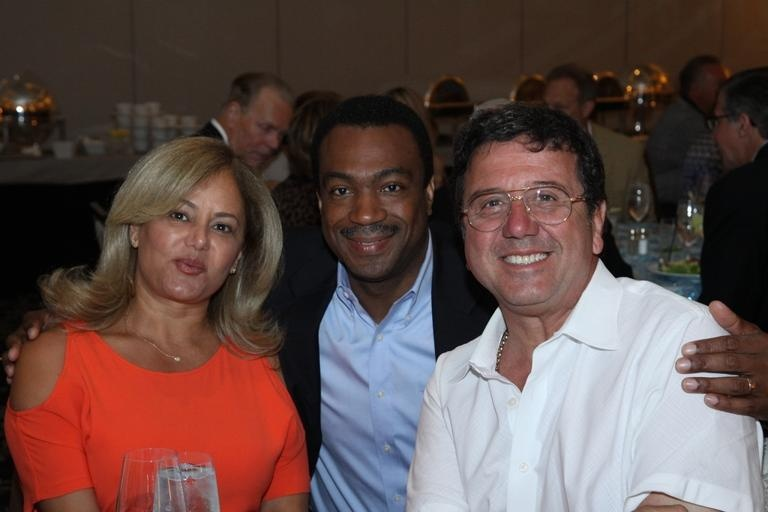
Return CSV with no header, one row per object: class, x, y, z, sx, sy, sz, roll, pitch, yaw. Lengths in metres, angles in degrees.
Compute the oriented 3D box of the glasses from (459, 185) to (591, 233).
glasses,0.465,-0.154,2.228,0.379,0.148,0.102,0,10,15
